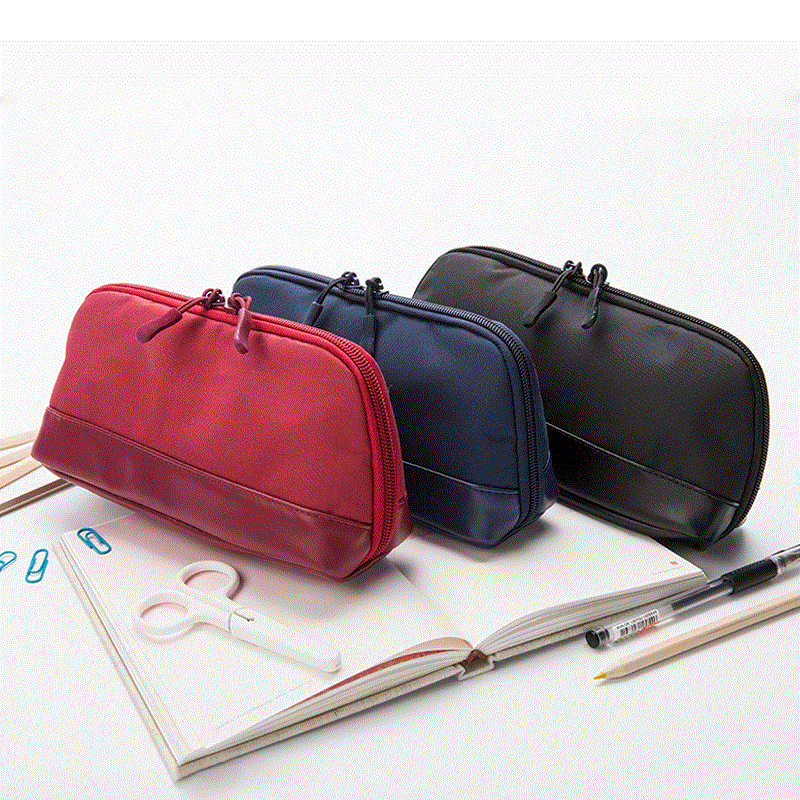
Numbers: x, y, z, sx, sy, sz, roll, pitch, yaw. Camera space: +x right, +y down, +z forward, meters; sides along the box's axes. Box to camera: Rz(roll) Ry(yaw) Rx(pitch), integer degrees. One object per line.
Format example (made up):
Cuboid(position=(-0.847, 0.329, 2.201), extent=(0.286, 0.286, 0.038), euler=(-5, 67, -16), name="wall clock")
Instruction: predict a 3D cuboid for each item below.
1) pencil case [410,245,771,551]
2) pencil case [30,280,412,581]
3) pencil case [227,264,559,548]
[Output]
Cuboid(position=(0.278, 0.043, 1.305), extent=(0.459, 0.260, 0.144), euler=(26, 28, 38), name="pencil case")
Cuboid(position=(-0.261, 0.023, 1.293), extent=(0.618, 0.323, 0.238), euler=(19, 28, 27), name="pencil case")
Cuboid(position=(-0.020, -0.039, 1.468), extent=(0.673, 0.385, 0.281), euler=(23, 38, 36), name="pencil case")
